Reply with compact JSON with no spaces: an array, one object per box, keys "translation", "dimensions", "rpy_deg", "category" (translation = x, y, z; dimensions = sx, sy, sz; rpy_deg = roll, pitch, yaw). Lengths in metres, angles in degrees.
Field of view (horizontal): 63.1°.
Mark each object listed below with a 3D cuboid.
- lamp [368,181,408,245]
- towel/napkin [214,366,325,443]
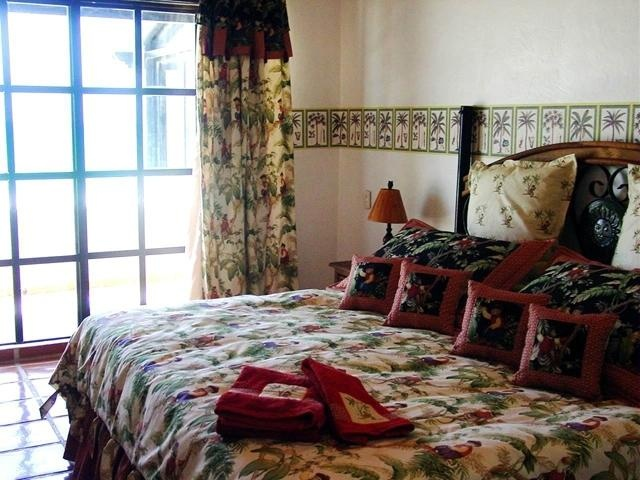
[{"translation":[0.521,-0.204,3.866],"dimensions":[0.294,0.451,0.296],"rpy_deg":[5,10,24],"category":"lamp"},{"translation":[-0.138,0.547,1.776],"dimensions":[0.348,0.119,0.340],"rpy_deg":[3,11,7],"category":"towel/napkin"}]
